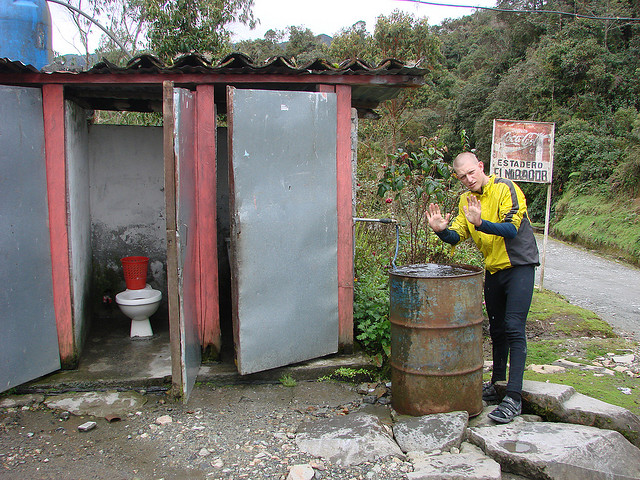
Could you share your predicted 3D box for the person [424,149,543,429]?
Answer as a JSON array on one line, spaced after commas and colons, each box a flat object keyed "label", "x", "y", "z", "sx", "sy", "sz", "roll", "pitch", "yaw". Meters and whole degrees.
[{"label": "person", "x": 1.704, "y": 0.331, "z": 5.211, "sx": 1.351, "sy": 3.031, "sz": 1.184, "roll": 0, "pitch": 2, "yaw": -22}]

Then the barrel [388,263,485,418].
[{"label": "barrel", "x": 1.101, "y": 1.002, "z": 4.799, "sx": 0.863, "sy": 1.387, "sz": 0.296, "roll": 0, "pitch": 7, "yaw": 8}]
